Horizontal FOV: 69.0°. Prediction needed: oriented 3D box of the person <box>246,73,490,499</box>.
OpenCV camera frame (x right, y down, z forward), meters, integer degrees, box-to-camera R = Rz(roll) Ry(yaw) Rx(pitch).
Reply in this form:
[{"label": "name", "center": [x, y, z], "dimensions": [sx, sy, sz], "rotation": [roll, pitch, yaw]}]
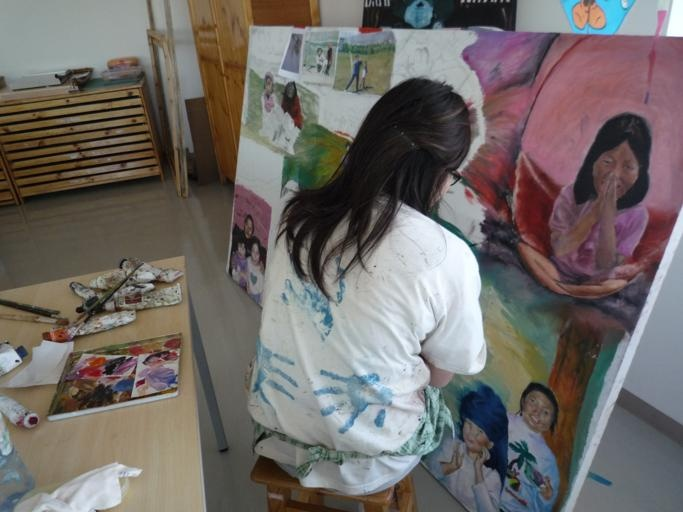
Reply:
[{"label": "person", "center": [0.114, 0.279, 1.665], "dimensions": [0.617, 1.581, 0.883], "rotation": [17, 28, 21]}]
